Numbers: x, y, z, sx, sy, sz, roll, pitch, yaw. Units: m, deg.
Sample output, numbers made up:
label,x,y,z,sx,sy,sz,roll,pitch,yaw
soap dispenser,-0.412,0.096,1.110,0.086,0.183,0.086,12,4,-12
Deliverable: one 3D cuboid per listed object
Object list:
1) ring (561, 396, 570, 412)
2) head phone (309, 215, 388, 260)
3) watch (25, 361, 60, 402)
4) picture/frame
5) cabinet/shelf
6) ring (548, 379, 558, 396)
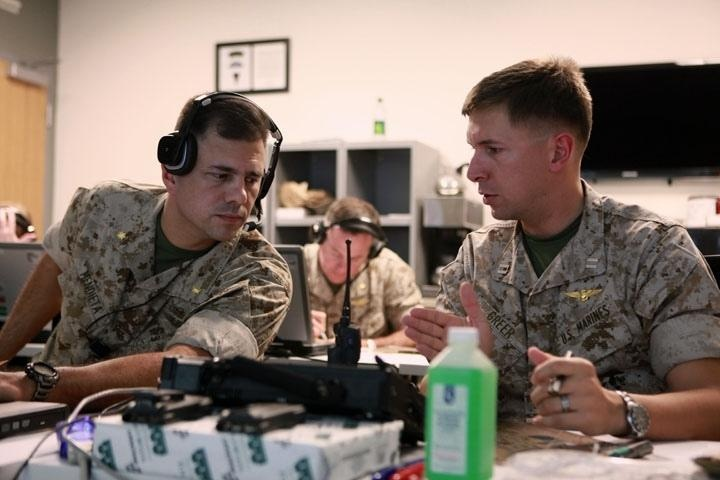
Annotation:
label,x,y,z,sx,sy,sz,roll,pitch,yaw
ring,0.541,0.431,1.963,0.012,0.031,0.032,-5,-26,10
head phone,-0.098,0.017,3.870,0.502,0.196,0.427,5,-8,-5
watch,-0.914,0.398,2.126,0.087,0.104,0.109,16,11,-32
picture/frame,-0.805,-1.270,5.449,0.581,0.378,0.016,0,-3,14
cabinet/shelf,-0.098,-0.116,4.161,0.941,0.878,0.301,1,-2,17
ring,0.511,0.383,1.951,0.030,0.039,0.008,1,-1,11
